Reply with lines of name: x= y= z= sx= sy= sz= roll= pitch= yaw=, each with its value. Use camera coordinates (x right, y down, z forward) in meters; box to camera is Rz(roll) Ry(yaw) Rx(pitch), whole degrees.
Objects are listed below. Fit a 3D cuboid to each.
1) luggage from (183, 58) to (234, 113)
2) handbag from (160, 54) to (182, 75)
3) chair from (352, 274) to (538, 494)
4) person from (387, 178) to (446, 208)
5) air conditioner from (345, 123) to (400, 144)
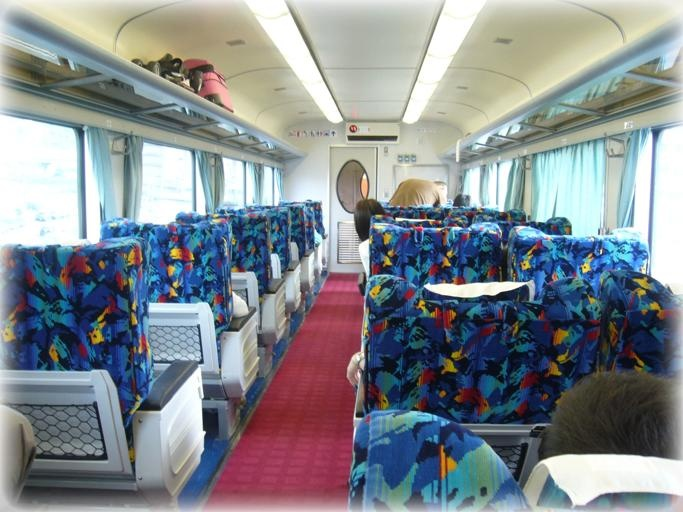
luggage: x=-1.716 y=-2.082 z=6.007 sx=0.415 sy=0.696 sz=0.503 roll=-17 pitch=-9 yaw=13
handbag: x=-1.848 y=-2.075 z=5.208 sx=0.225 sy=0.236 sz=0.235 roll=-2 pitch=8 yaw=-19
chair: x=0.411 y=0.435 z=2.026 sx=0.621 sy=0.927 sz=0.744 roll=4 pitch=2 yaw=7
person: x=1.294 y=-0.987 z=7.767 sx=0.559 sy=0.410 sz=0.782 roll=11 pitch=10 yaw=32
air conditioner: x=0.819 y=-3.214 z=12.612 sx=1.354 sy=0.551 sz=0.175 roll=0 pitch=8 yaw=-5
